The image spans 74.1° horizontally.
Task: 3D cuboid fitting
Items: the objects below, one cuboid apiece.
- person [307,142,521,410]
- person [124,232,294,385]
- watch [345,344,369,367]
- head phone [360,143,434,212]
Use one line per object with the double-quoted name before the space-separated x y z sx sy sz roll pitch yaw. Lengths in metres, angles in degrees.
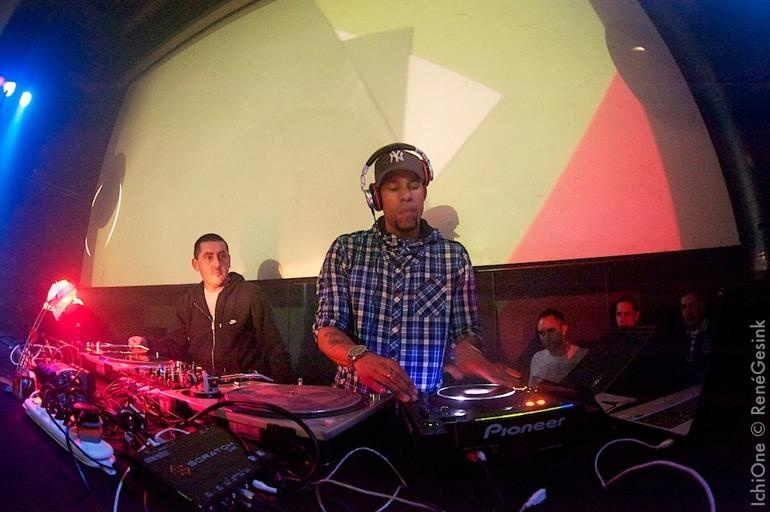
"person" 0.058 0.037 2.080 0.688 1.027 0.433 1 -4 0
"person" -0.894 0.272 2.722 0.645 0.843 0.508 -17 -8 15
"watch" -0.098 0.346 1.825 0.083 0.077 0.054 -15 41 -24
"head phone" 0.050 -0.386 2.193 0.299 0.233 0.168 -9 9 -9
